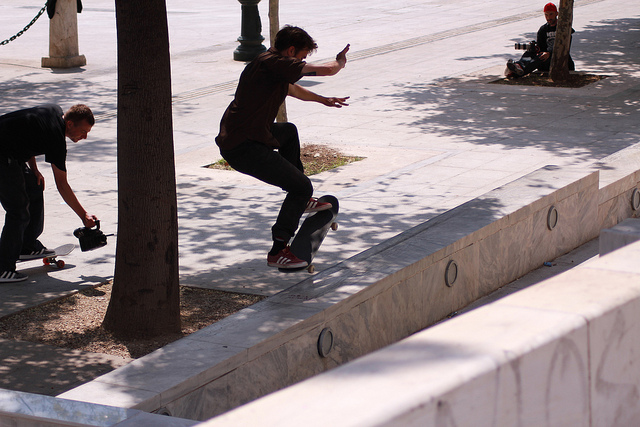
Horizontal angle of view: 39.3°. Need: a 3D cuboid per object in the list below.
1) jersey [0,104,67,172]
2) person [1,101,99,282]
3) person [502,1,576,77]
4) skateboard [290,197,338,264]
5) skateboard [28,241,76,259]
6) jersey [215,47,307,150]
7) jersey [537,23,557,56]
[{"bbox_3d":[-2.696,-0.753,8.518,0.778,0.616,0.284,3,-21,-4],"label":"jersey"},{"bbox_3d":[-2.737,-0.227,8.891,0.956,1.710,0.849,-4,16,-12],"label":"person"},{"bbox_3d":[4.528,-3.641,18.909,0.857,1.524,1.429,13,20,42],"label":"person"},{"bbox_3d":[-0.065,0.178,8.798,0.290,0.121,0.899,28,59,25],"label":"skateboard"},{"bbox_3d":[-2.778,0.382,9.379,0.137,0.065,0.474,14,17,28],"label":"skateboard"},{"bbox_3d":[-0.562,-1.057,8.370,0.842,0.909,0.308,-2,16,-4],"label":"jersey"},{"bbox_3d":[4.827,-3.689,19.034,0.352,0.653,0.737,1,13,9],"label":"jersey"}]
